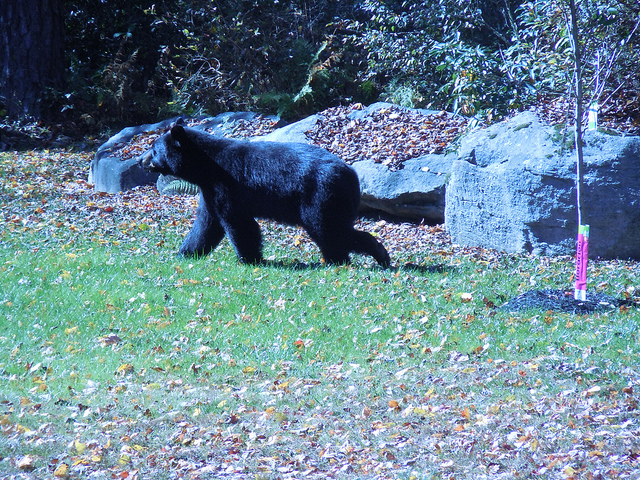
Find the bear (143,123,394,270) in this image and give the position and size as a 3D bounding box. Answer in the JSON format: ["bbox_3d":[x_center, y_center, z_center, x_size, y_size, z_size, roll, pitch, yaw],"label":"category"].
[{"bbox_3d":[-0.851,-0.560,12.981,4.048,2.020,1.206,8,13,-2],"label":"bear"}]
